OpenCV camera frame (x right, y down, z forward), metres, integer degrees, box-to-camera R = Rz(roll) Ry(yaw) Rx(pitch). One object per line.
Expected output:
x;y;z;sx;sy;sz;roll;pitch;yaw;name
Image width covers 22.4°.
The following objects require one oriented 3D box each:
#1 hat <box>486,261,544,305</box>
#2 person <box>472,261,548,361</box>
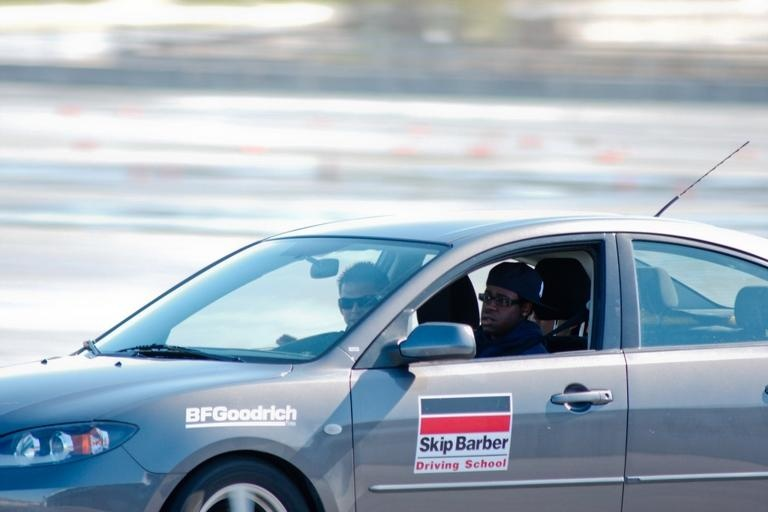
1.319;0.218;19.555;0.569;0.260;0.375;25;4;-7;hat
1.255;0.558;19.423;0.671;0.837;1.054;18;-10;-38;person
